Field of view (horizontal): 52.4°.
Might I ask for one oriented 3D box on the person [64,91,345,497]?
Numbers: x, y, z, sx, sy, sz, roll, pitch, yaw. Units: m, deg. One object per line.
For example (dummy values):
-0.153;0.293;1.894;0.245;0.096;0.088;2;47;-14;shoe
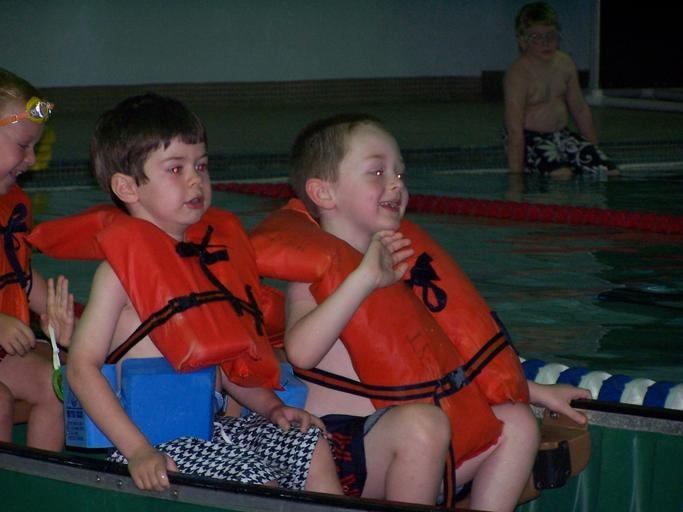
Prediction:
-0.362;-0.019;2.223;0.972;1.334;0.699;-3;1;31;person
